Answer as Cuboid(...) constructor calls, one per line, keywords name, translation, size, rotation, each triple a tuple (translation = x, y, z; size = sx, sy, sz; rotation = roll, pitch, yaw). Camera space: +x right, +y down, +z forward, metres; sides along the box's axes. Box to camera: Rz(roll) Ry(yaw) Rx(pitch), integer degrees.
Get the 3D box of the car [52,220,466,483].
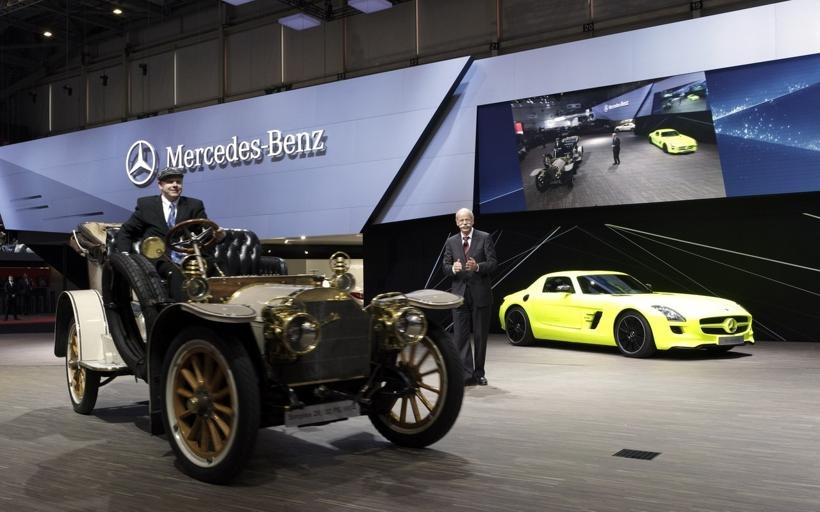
Cuboid(name="car", translation=(-1.761, 0.729, 5.096), size=(3.754, 1.595, 2.050), rotation=(-5, -5, 44))
